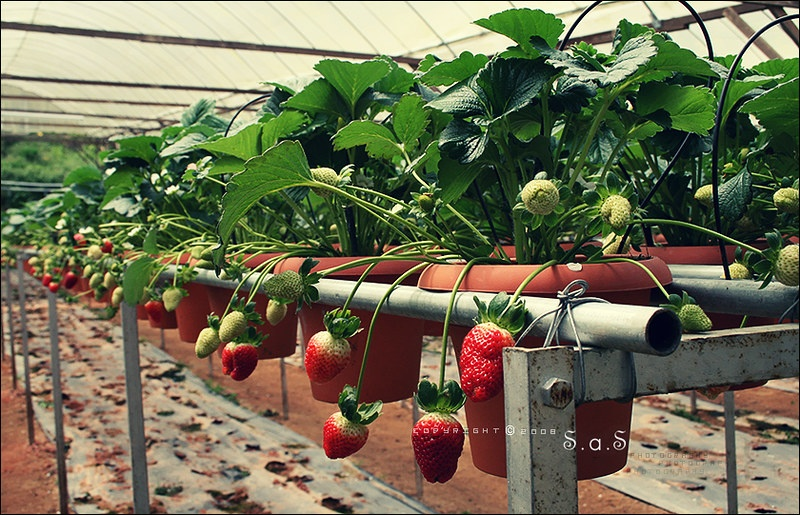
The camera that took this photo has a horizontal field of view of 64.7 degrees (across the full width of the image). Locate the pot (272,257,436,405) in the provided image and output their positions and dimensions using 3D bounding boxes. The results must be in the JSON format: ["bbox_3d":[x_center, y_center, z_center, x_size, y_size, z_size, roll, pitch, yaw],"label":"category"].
[{"bbox_3d":[-0.144,0.204,1.852,0.413,0.306,0.404,-1,-4,0],"label":"pot"}]

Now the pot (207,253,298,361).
[{"bbox_3d":[-0.490,0.155,2.133,0.365,0.282,0.362,-1,-3,0],"label":"pot"}]

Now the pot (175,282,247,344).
[{"bbox_3d":[-0.680,0.171,2.275,0.286,0.232,0.300,4,6,0],"label":"pot"}]

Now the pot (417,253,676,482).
[{"bbox_3d":[0.339,0.216,1.579,0.560,0.401,0.540,-1,-4,0],"label":"pot"}]
